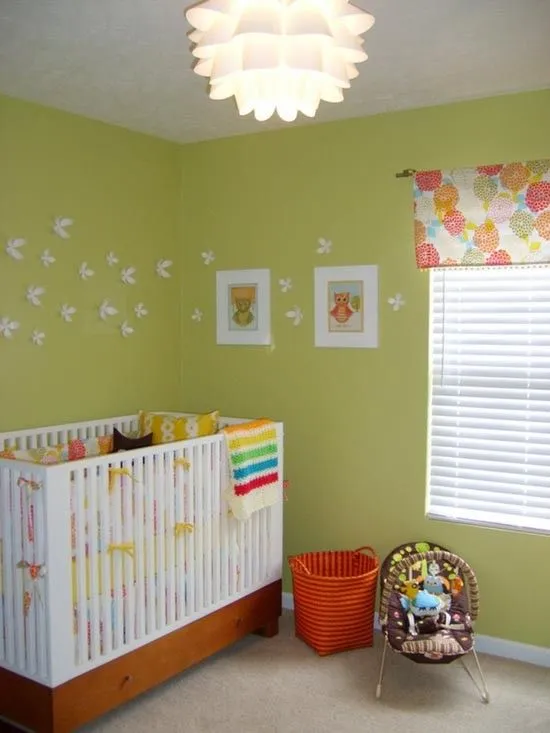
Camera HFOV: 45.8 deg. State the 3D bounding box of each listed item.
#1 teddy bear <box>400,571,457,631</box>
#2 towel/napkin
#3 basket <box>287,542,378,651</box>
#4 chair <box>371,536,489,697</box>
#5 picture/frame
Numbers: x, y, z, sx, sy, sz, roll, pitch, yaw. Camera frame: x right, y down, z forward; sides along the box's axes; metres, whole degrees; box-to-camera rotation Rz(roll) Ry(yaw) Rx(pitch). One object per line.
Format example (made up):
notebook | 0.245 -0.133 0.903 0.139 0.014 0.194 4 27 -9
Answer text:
teddy bear | 0.601 0.949 2.615 0.149 0.083 0.198 -2 17 6
towel/napkin | -0.117 0.445 2.830 0.119 0.427 0.446 -3 1 28
basket | 0.240 1.029 3.005 0.430 0.486 0.443 1 -2 -32
chair | 0.622 0.948 2.665 0.397 0.478 0.543 0 -18 8
picture/frame | 0.083 -0.313 3.342 0.966 0.354 0.053 0 0 35
